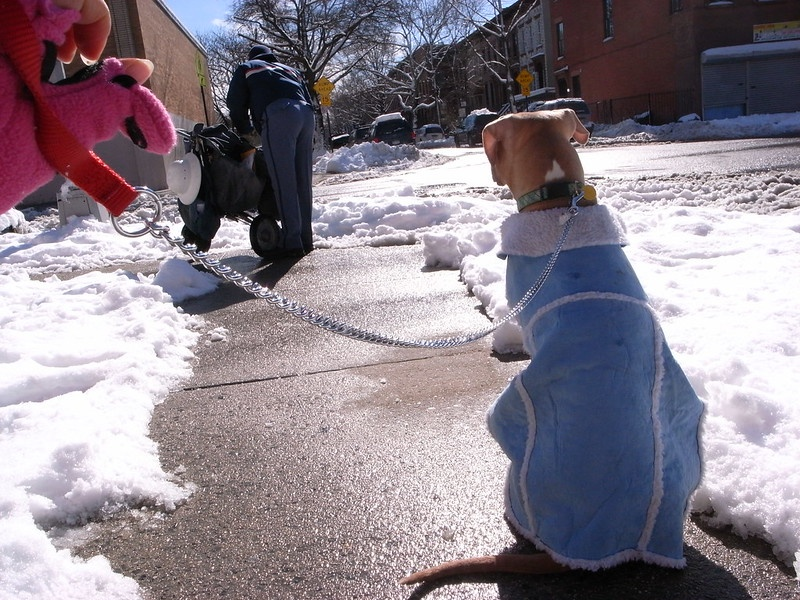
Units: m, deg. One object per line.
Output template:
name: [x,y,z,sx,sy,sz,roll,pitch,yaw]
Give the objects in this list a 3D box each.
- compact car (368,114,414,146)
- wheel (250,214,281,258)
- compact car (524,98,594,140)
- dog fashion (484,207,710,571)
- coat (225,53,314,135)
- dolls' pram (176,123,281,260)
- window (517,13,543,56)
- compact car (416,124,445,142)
compact car: [-0.364,-8.743,31.649,1.640,1.519,2.869,-1,29,1]
wheel: [-1.373,-0.647,6.130,0.436,0.493,0.160,-4,6,-10]
compact car: [7.257,-7.959,25.638,1.450,1.304,2.834,-10,28,0]
dog fashion: [0.639,0.303,1.894,0.655,1.095,0.477,-15,19,-16]
coat: [-1.295,-1.992,5.823,0.790,0.658,0.512,-13,18,-11]
dolls' pram: [-1.777,-1.068,6.090,0.739,1.216,1.250,6,7,26]
window: [9.516,-19.269,43.293,0.244,2.796,3.904,1,24,38]
compact car: [2.091,-11.225,41.080,1.437,1.179,2.403,-2,21,-5]
